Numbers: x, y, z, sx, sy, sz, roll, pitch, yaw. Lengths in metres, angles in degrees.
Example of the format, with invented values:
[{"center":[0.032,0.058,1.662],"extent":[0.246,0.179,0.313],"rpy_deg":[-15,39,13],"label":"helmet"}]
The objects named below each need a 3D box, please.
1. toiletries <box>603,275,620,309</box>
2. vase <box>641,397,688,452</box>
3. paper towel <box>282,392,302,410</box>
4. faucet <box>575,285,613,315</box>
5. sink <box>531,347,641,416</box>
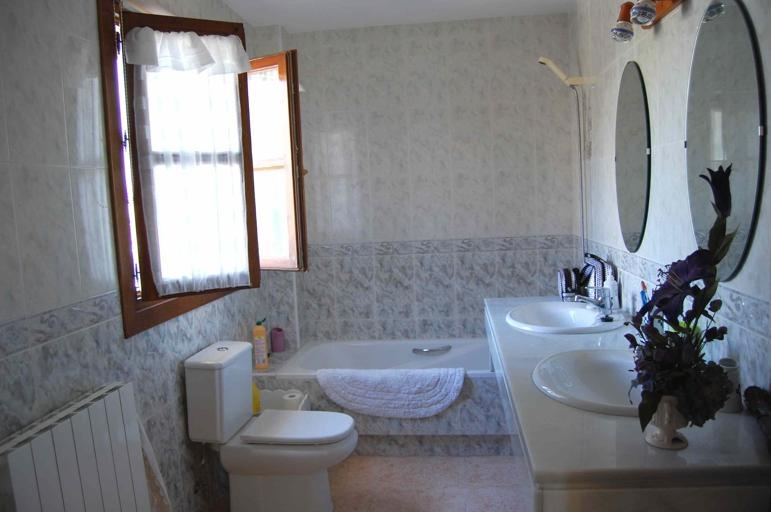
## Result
[{"center":[1.228,0.223,3.173],"extent":[0.071,0.174,0.073],"rpy_deg":[-19,-21,13],"label":"toiletries"},{"center":[0.920,0.567,1.987],"extent":[0.176,0.181,0.164],"rpy_deg":[-1,3,5],"label":"vase"},{"center":[-0.592,0.907,3.610],"extent":[0.102,0.066,0.102],"rpy_deg":[-1,2,-30],"label":"paper towel"},{"center":[1.182,0.232,3.195],"extent":[0.163,0.133,0.417],"rpy_deg":[-2,6,6],"label":"faucet"},{"center":[0.796,0.505,2.300],"extent":[0.383,0.168,0.465],"rpy_deg":[0,6,22],"label":"sink"}]
